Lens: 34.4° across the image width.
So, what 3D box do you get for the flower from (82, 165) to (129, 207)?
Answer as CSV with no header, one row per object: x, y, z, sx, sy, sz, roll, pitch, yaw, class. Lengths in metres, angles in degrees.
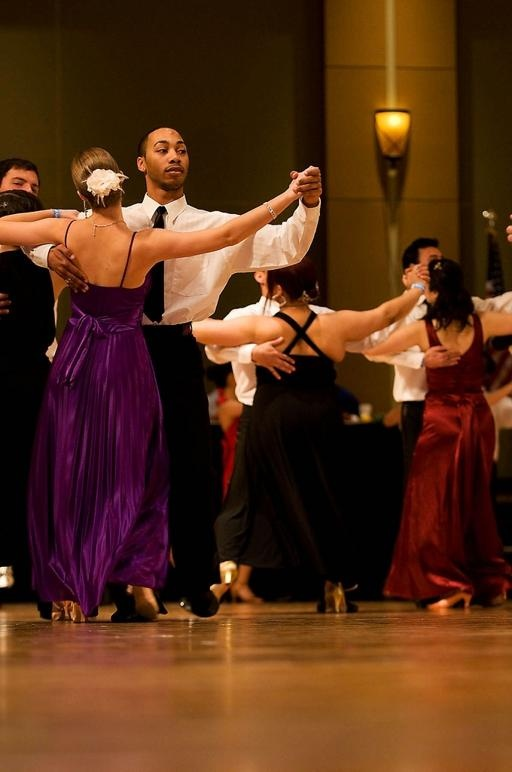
-0.512,-0.692,2.861,0.151,0.142,0.085,-33,8,-5,flower

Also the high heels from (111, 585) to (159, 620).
-0.417,0.763,2.899,0.084,0.081,0.227,0,-7,-2,high heels

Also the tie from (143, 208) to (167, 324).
-0.362,-0.438,3.039,0.083,0.454,0.033,-2,29,-17,tie

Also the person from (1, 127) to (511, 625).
-0.242,-0.130,3.041,1.055,1.706,0.682,-3,-1,17,person

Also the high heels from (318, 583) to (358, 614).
0.357,0.953,3.739,0.192,0.157,0.131,3,-8,-12,high heels

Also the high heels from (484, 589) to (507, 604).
1.168,1.026,4.025,0.080,0.054,0.097,-10,-18,10,high heels

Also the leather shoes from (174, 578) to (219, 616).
-0.202,0.809,3.179,0.141,0.124,0.152,-23,8,-31,leather shoes
